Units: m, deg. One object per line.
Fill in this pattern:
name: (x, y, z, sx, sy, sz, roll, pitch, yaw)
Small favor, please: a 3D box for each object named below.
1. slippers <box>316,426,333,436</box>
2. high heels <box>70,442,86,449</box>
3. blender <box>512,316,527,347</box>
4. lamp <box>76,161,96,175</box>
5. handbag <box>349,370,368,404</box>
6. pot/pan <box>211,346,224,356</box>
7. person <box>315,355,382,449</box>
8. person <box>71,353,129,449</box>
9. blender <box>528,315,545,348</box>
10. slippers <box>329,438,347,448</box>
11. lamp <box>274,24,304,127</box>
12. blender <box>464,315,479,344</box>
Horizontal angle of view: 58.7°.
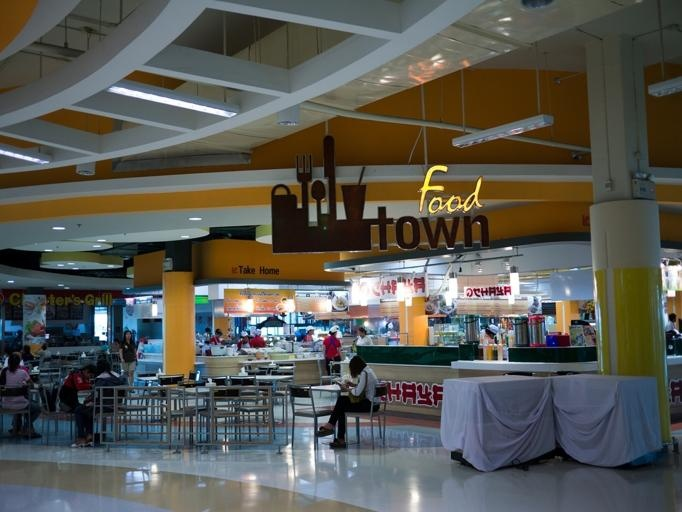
slippers: (-0.224, 2.622, 9.063, 0.127, 0.088, 0.240, -10, -16, 37)
high heels: (-4.030, 2.914, 9.391, 0.244, 0.098, 0.090, -1, -10, 33)
blender: (2.985, 1.236, 10.047, 0.281, 0.328, 0.209, -4, -2, 28)
lamp: (-3.798, -1.332, 9.101, 0.221, 0.220, 0.223, -9, -7, 41)
handbag: (0.287, 1.942, 8.992, 0.163, 0.413, 0.309, 11, 13, 8)
pot/pan: (-3.373, 2.646, 16.917, 0.294, 0.166, 0.277, 1, -1, -12)
person: (0.128, 2.129, 9.031, 0.890, 1.239, 0.672, -3, -2, 1)
person: (-3.859, 2.333, 9.793, 0.808, 1.286, 1.381, -2, -2, -22)
blender: (3.203, 1.202, 9.876, 0.243, 0.349, 0.338, -3, -2, 17)
slippers: (-0.033, 2.711, 8.789, 0.257, 0.106, 0.100, 1, -4, 19)
lamp: (-0.674, -2.332, 7.718, 0.251, 1.281, 0.463, -3, -2, -6)
blender: (2.558, 1.387, 11.802, 0.242, 0.494, 0.627, -3, -2, 10)
